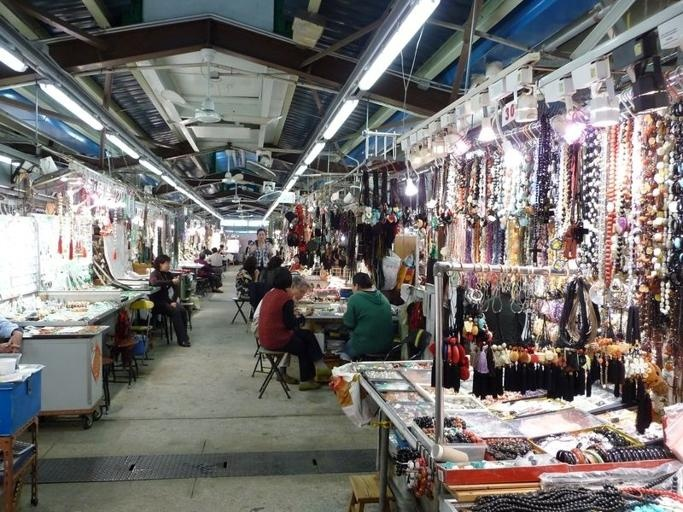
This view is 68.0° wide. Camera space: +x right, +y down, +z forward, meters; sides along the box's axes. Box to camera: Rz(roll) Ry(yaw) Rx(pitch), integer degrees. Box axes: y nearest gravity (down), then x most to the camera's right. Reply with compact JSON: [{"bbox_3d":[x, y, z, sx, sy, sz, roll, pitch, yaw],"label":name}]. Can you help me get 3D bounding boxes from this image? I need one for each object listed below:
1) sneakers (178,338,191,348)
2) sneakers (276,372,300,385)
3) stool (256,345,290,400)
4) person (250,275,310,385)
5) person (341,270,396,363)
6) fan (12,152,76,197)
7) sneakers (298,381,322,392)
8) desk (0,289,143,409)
[{"bbox_3d":[-2.721,1.503,8.824,0.096,0.113,0.274,4,-11,-29],"label":"sneakers"},{"bbox_3d":[-0.777,1.644,6.877,0.429,0.173,0.154,2,-6,3],"label":"sneakers"},{"bbox_3d":[-0.858,1.494,6.720,0.606,0.730,0.621,2,-1,-4],"label":"stool"},{"bbox_3d":[-0.640,0.957,6.443,0.776,1.611,0.407,-1,5,-38],"label":"person"},{"bbox_3d":[0.323,0.742,6.039,0.611,1.068,0.378,2,4,10],"label":"person"},{"bbox_3d":[-4.130,-1.152,6.870,0.561,0.433,0.896,13,19,9],"label":"fan"},{"bbox_3d":[-0.414,1.714,6.706,0.299,0.124,0.108,0,-1,-17],"label":"sneakers"},{"bbox_3d":[-2.938,0.903,5.616,0.898,1.053,1.545,0,5,-12],"label":"desk"}]
